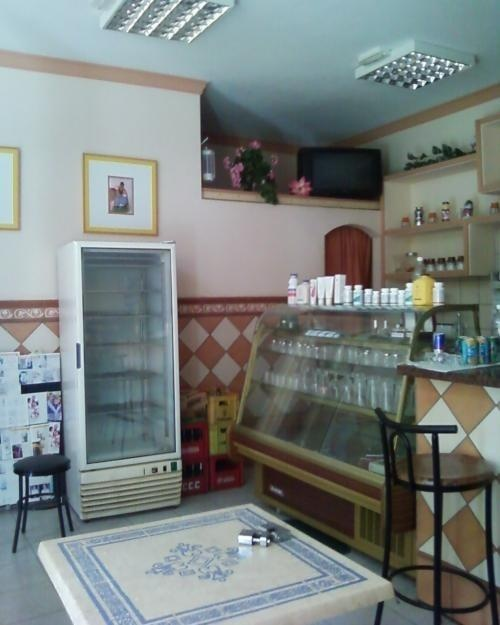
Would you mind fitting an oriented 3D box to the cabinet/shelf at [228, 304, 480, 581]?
[{"bbox_3d":[0.603,0.674,3.201,0.824,1.285,1.441,7,-3,-31],"label":"cabinet/shelf"}]

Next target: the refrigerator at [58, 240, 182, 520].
[{"bbox_3d":[-0.879,0.425,3.538,0.922,1.845,0.620,4,-8,-16],"label":"refrigerator"}]

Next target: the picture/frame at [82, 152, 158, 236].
[{"bbox_3d":[-1.015,-0.892,3.984,0.709,0.704,0.049,0,-2,-29],"label":"picture/frame"}]

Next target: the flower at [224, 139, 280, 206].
[{"bbox_3d":[0.017,-1.239,4.650,0.505,0.547,0.284,2,-8,-7],"label":"flower"}]

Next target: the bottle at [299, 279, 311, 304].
[{"bbox_3d":[0.375,-0.136,3.702,0.079,0.190,0.166,1,-8,5],"label":"bottle"}]

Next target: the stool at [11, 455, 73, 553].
[{"bbox_3d":[-1.221,1.095,3.077,0.363,0.473,0.360,-1,-2,5],"label":"stool"}]

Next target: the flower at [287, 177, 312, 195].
[{"bbox_3d":[0.438,-1.159,4.890,0.188,0.166,0.120,9,45,33],"label":"flower"}]
